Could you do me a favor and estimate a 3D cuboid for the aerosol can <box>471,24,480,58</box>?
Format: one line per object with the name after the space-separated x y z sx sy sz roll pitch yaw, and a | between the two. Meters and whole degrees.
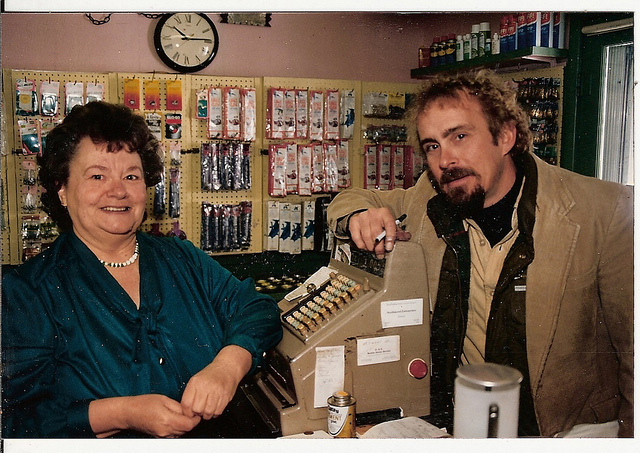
1.006 -1.204 3.675 0.056 0.205 0.050 2 10 30 | aerosol can

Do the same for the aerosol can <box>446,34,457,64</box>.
0.864 -1.168 3.721 0.069 0.193 0.138 -1 8 14 | aerosol can

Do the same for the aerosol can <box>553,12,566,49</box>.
1.361 -1.109 3.210 0.061 0.219 0.178 1 9 24 | aerosol can

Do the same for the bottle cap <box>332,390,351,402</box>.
0.080 0.655 2.176 0.070 0.027 0.039 -2 8 5 | bottle cap

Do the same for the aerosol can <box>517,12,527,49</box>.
1.178 -1.143 3.294 0.052 0.212 0.146 0 9 19 | aerosol can

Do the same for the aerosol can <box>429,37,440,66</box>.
0.761 -1.161 3.768 0.067 0.194 0.140 -1 8 12 | aerosol can

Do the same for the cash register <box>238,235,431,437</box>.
0.060 0.429 2.378 0.761 0.744 0.328 -4 8 -10 | cash register

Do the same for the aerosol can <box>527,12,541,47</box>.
1.230 -1.131 3.249 0.071 0.209 0.166 0 9 20 | aerosol can

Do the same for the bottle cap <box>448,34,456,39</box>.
0.873 -1.251 3.743 0.035 0.025 0.034 0 2 -36 | bottle cap

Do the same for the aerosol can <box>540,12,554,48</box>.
1.286 -1.109 3.201 0.072 0.210 0.133 1 9 23 | aerosol can

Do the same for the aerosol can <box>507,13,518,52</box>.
1.148 -1.154 3.372 0.056 0.233 0.160 0 9 17 | aerosol can

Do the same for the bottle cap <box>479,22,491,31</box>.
1.065 -1.277 3.640 0.053 0.047 0.053 0 6 4 | bottle cap

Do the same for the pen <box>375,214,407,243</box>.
0.294 0.013 2.391 0.168 0.023 0.018 -42 15 -16 | pen

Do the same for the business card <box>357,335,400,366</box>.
0.226 0.502 2.286 0.130 0.077 0.013 -2 -1 -13 | business card

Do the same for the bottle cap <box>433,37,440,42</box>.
0.772 -1.248 3.780 0.050 0.036 0.050 0 -1 15 | bottle cap

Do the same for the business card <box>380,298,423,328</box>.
0.320 0.355 2.299 0.126 0.083 0.015 -3 7 -12 | business card

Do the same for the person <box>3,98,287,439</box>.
-0.813 0.161 2.385 1.128 1.369 0.552 -4 8 -7 | person

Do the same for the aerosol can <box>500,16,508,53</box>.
1.111 -1.162 3.418 0.045 0.221 0.106 0 9 17 | aerosol can
